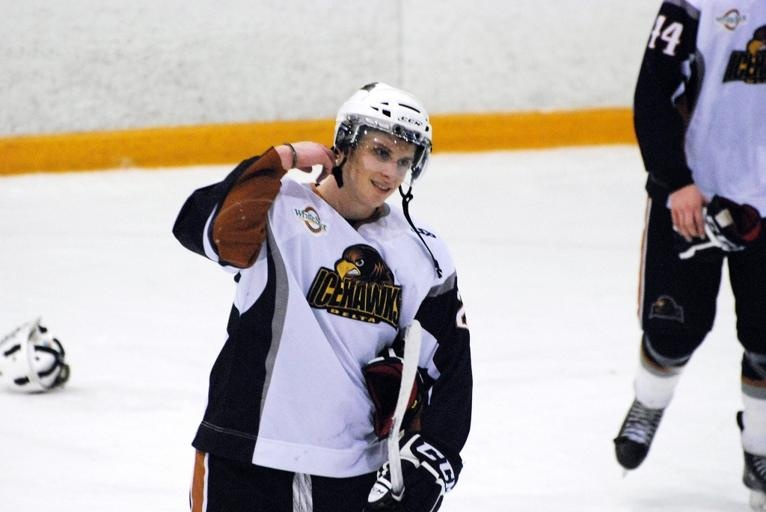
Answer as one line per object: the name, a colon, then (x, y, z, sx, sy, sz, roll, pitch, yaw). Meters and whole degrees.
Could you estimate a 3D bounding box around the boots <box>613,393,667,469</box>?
boots: (1.401, 0.915, 5.787, 0.172, 0.477, 0.118, 24, 7, 17)

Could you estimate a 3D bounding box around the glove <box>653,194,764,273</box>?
glove: (1.764, -0.118, 5.593, 0.371, 0.310, 0.164, -17, 27, 25)
